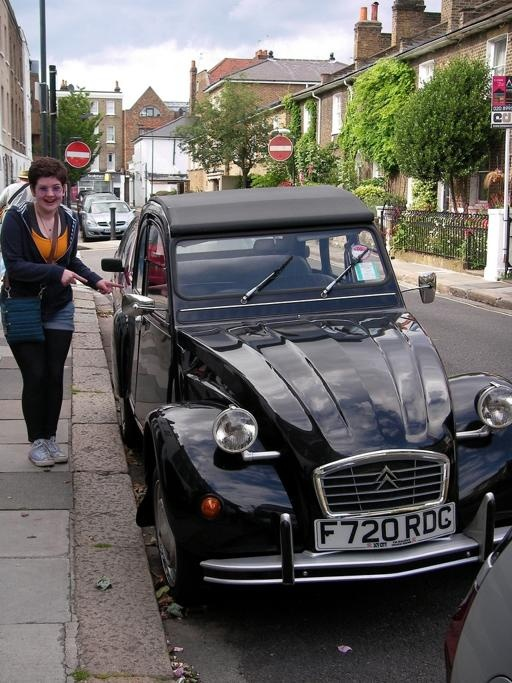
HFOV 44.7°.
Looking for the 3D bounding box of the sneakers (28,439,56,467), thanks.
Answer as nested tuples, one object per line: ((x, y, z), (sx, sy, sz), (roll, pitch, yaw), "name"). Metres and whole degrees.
((-1.605, 0.839, 4.659), (0.105, 0.132, 0.306), (-7, 3, -30), "sneakers")

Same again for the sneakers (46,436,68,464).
((-1.542, 0.826, 4.830), (0.096, 0.116, 0.286), (-2, 10, -32), "sneakers")
